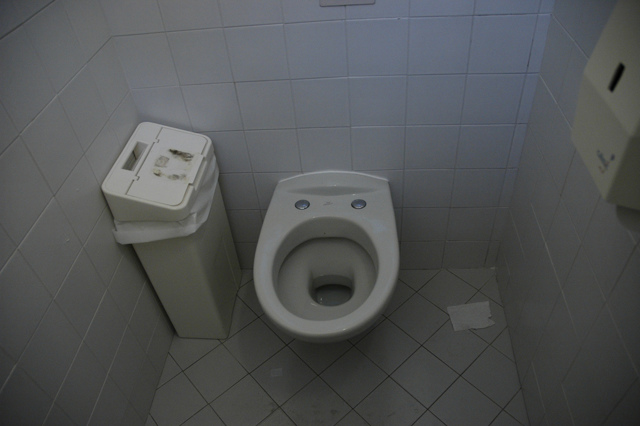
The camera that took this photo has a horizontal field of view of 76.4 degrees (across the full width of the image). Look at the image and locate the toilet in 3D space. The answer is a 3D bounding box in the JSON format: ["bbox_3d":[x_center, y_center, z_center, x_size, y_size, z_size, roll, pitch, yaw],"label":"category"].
[{"bbox_3d":[0.038,0.262,1.805,0.597,0.462,0.789,5,49,10],"label":"toilet"}]

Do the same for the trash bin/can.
[{"bbox_3d":[-0.623,0.054,1.651,0.366,0.870,0.503,0,52,1],"label":"trash bin/can"}]
